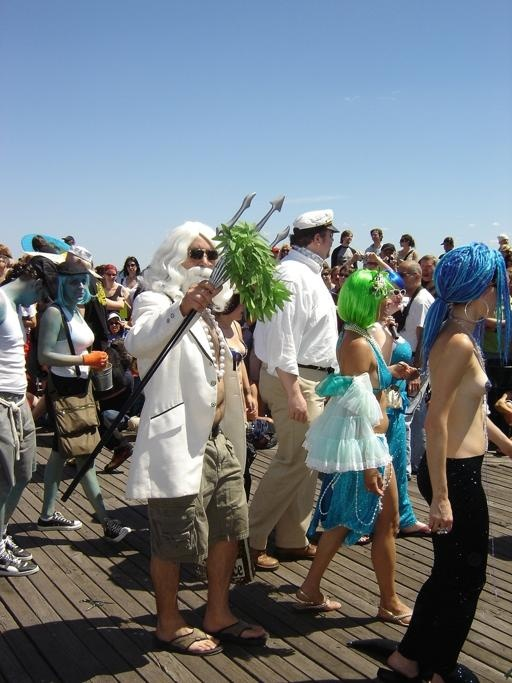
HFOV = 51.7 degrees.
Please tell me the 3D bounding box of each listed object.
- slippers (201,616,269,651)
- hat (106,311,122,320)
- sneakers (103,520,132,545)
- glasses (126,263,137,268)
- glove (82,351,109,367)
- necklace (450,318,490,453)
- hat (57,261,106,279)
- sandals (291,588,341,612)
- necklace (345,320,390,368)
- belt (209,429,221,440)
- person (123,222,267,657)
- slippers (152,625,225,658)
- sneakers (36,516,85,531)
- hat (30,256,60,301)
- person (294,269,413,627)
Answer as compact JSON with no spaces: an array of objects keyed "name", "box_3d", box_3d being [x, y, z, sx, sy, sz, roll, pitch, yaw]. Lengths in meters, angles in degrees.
[{"name":"slippers","box_3d":[-0.077,1.232,2.237,0.219,0.063,0.103,-1,1,4]},{"name":"hat","box_3d":[-1.647,-0.299,6.101,0.103,0.111,0.125,-3,8,-23]},{"name":"sneakers","box_3d":[-0.924,1.241,3.487,0.114,0.093,0.238,45,-20,-12]},{"name":"glasses","box_3d":[-2.143,-1.287,8.996,0.100,0.080,0.032,-2,2,-13]},{"name":"glove","box_3d":[-1.045,0.118,3.419,0.150,0.109,0.149,2,-3,-9]},{"name":"necklace","box_3d":[0.722,0.152,1.798,0.112,0.478,0.338,0,-3,36]},{"name":"hat","box_3d":[-1.118,-0.447,3.265,0.083,0.108,0.264,1,-3,23]},{"name":"sandals","box_3d":[0.293,1.256,2.586,0.276,0.070,0.096,7,28,-29]},{"name":"necklace","box_3d":[0.487,0.014,2.365,0.301,0.087,0.079,27,28,-45]},{"name":"belt","box_3d":[-0.174,0.390,2.226,0.033,0.039,0.025,-21,54,-31]},{"name":"person","box_3d":[-0.244,0.395,2.087,0.529,1.735,0.721,2,-2,11]},{"name":"slippers","box_3d":[-0.274,1.209,2.170,0.236,0.057,0.116,0,-3,13]},{"name":"sneakers","box_3d":[-1.372,1.271,3.743,0.329,0.111,0.109,0,-1,-8]},{"name":"hat","box_3d":[-1.209,-0.366,3.069,0.146,0.217,0.186,-3,13,-41]},{"name":"person","box_3d":[0.434,0.492,2.455,0.529,1.653,0.501,1,-3,22]}]
